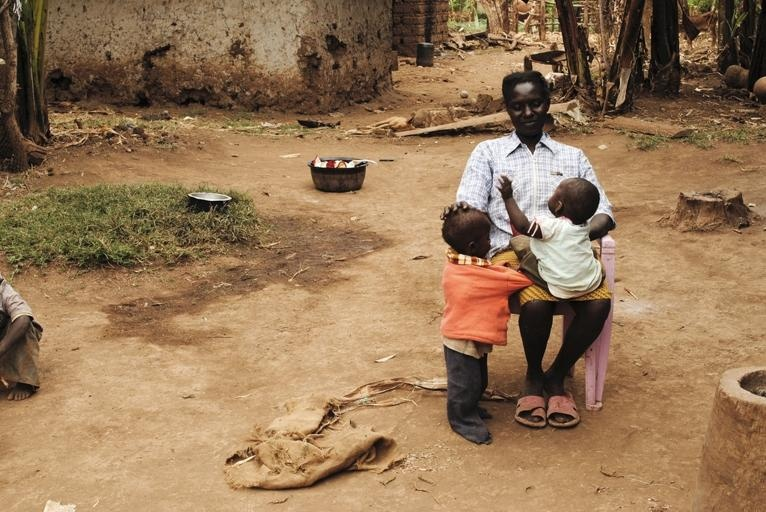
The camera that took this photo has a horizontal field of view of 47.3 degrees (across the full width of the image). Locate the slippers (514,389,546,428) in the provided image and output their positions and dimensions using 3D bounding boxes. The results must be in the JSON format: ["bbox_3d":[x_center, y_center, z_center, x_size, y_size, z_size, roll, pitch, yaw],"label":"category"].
[{"bbox_3d":[1.157,1.175,6.827,0.267,0.145,0.406,-4,24,10],"label":"slippers"}]

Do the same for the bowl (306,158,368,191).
[{"bbox_3d":[-0.552,-1.080,11.467,0.665,0.438,0.417,-11,21,-31],"label":"bowl"}]

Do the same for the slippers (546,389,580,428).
[{"bbox_3d":[1.390,1.147,6.858,0.236,0.110,0.540,-3,19,8],"label":"slippers"}]

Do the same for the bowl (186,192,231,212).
[{"bbox_3d":[-1.954,-0.634,9.928,0.538,0.165,0.377,11,20,34],"label":"bowl"}]

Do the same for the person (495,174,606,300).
[{"bbox_3d":[1.278,-0.116,6.646,0.892,0.829,0.651,-14,23,-20],"label":"person"}]
